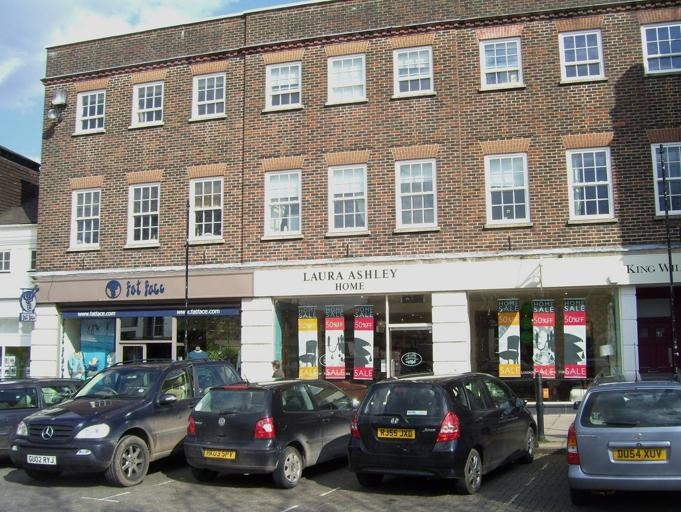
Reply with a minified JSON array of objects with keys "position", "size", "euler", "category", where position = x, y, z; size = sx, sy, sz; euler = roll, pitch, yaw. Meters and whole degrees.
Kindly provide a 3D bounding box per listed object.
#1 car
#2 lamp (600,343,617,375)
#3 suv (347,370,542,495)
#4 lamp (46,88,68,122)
[{"position":[-1.260,3.374,13.379],"size":[3.161,1.826,1.515],"euler":[-6,10,-32],"category":"car"},{"position":[7.430,2.916,19.518],"size":[0.294,0.710,0.706],"euler":[-4,-33,12],"category":"lamp"},{"position":[2.019,3.295,12.958],"size":[3.530,2.131,1.819],"euler":[-7,10,-35],"category":"suv"},{"position":[-9.802,-5.287,24.276],"size":[0.600,1.127,0.520],"euler":[1,-11,25],"category":"lamp"}]
